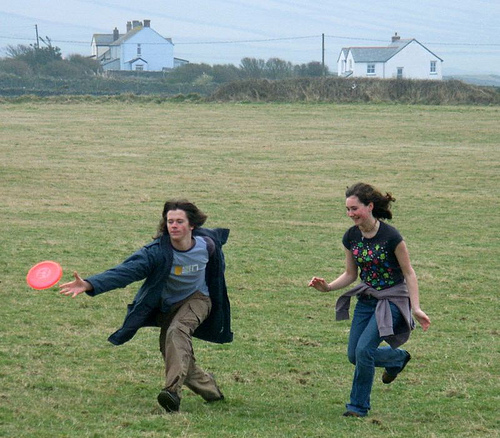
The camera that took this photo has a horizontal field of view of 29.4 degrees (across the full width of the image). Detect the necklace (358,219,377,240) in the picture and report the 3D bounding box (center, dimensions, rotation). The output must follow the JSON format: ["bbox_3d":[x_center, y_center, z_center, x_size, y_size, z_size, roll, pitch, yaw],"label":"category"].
[{"bbox_3d":[1.510,0.134,12.127,0.209,0.259,0.064,2,11,1],"label":"necklace"}]

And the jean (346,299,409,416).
[{"bbox_3d":[1.573,1.710,12.203,0.599,1.409,0.892,11,15,41],"label":"jean"}]

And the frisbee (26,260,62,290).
[{"bbox_3d":[-2.566,0.694,11.860,0.460,0.110,0.468,-28,51,-15],"label":"frisbee"}]
